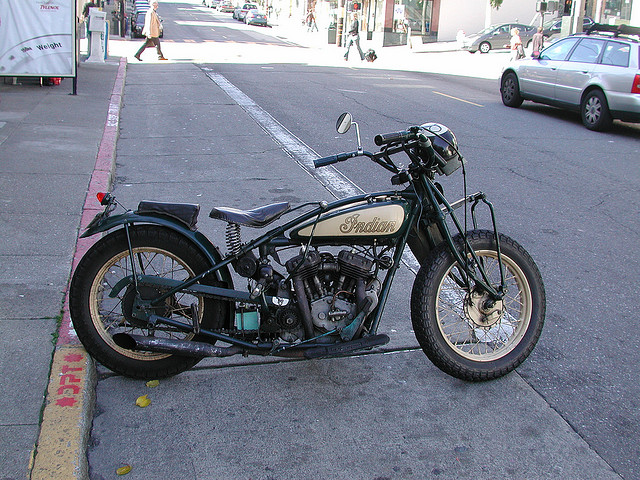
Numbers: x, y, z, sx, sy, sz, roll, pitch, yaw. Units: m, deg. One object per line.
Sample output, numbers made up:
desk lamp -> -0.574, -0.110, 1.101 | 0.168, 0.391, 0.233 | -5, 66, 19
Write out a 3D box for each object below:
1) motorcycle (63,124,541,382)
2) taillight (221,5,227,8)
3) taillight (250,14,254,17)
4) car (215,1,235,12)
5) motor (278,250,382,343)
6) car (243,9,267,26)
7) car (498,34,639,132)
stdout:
motorcycle -> 0.016, 0.138, 3.799 | 3.290, 1.819, 1.084 | 0, 10, -8
taillight -> -14.324, -35.199, 81.261 | 0.747, 0.353, 0.153 | -1, 24, -7
taillight -> -7.574, -25.127, 60.450 | 0.387, 0.366, 0.093 | -1, 1, -5
car -> -14.257, -35.386, 81.847 | 3.192, 1.546, 1.641 | 18, 29, 32
motor -> 0.056, 0.368, 3.599 | 0.649, 0.582, 0.273 | 2, 24, 0
car -> -7.135, -25.156, 61.056 | 1.931, 1.450, 1.336 | -9, 26, -22
car -> 6.411, -4.044, 13.644 | 0.886, 2.037, 3.882 | -10, 27, -25
